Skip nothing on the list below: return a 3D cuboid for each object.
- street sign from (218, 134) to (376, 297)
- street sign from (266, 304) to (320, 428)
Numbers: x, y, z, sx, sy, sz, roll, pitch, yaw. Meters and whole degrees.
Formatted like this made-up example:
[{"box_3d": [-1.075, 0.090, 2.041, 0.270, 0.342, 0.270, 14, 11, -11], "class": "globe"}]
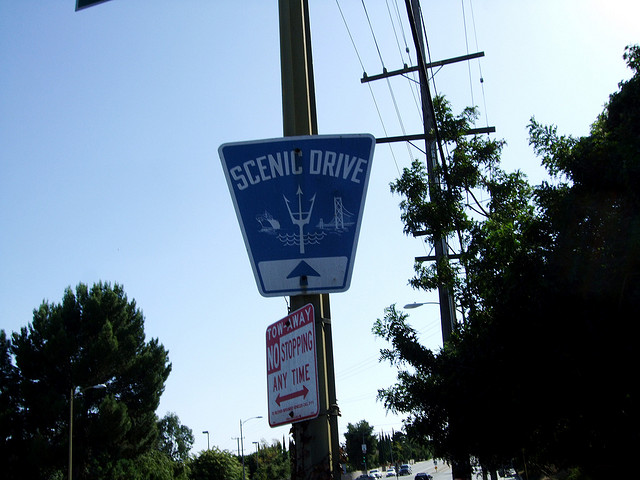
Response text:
[{"box_3d": [-0.128, -0.201, 4.231, 0.925, 1.199, 0.124, -3, -8, 4], "class": "street sign"}, {"box_3d": [-0.240, 0.939, 3.980, 0.598, 0.758, 0.236, -24, -30, 34], "class": "street sign"}]
